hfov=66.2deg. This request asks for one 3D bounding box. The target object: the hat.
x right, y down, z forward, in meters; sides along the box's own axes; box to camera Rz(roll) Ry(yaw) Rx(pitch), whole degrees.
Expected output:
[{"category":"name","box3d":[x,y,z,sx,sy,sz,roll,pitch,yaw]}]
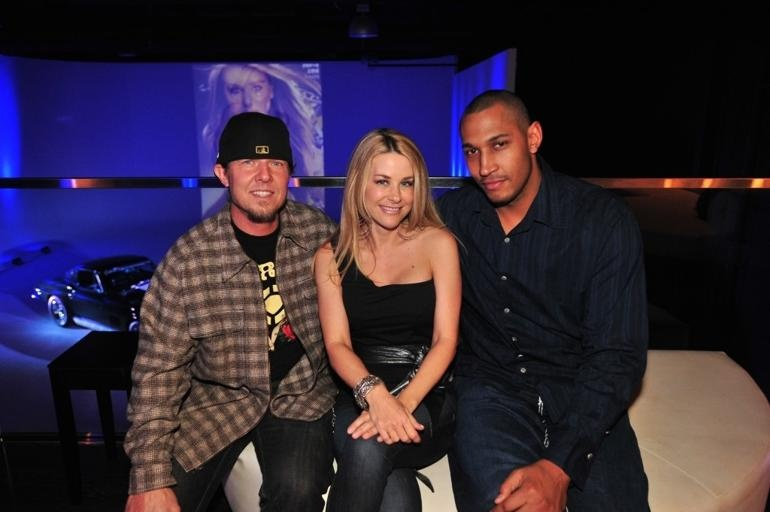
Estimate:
[{"category":"hat","box3d":[-0.849,-0.749,3.847,0.408,0.252,0.377,2,9,-6]}]
